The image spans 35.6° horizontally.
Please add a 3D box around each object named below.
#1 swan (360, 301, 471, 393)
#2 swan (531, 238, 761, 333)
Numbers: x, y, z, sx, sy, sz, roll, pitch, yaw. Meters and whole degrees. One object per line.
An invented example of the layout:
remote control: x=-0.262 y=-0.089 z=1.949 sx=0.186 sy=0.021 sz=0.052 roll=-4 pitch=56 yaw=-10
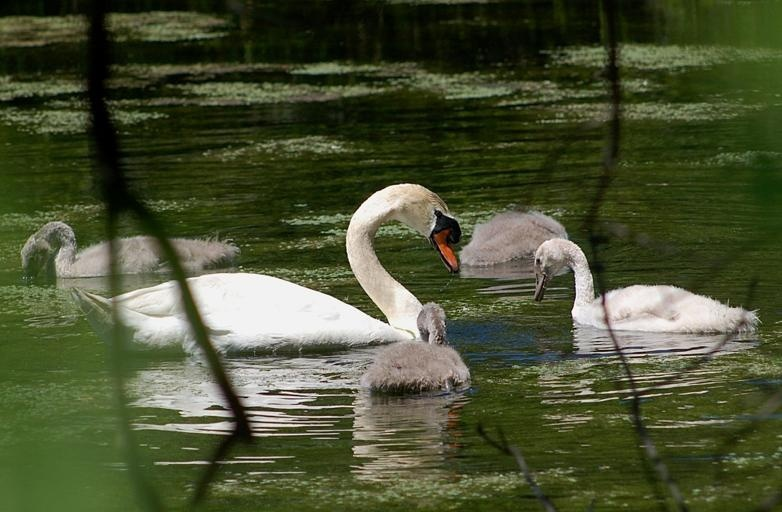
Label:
swan: x=0.073 y=0.585 z=7.886 sx=0.618 sy=0.475 sz=0.882 roll=15 pitch=14 yaw=36
swan: x=1.906 y=0.244 z=9.115 sx=1.377 sy=0.742 sz=2.729 roll=-1 pitch=0 yaw=-25
